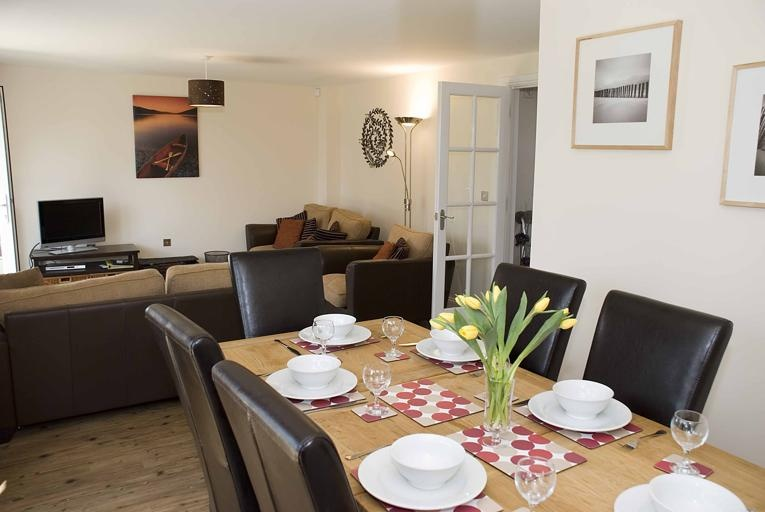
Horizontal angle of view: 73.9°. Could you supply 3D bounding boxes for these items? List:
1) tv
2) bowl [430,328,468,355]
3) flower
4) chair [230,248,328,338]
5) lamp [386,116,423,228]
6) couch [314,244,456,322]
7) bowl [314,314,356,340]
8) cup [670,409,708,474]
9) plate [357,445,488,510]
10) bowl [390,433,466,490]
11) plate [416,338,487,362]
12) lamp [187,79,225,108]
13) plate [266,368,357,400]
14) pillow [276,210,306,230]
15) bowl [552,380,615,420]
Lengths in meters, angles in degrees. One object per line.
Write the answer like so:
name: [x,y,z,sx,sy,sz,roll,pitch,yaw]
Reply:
tv: [-4.110,-0.401,6.656,0.793,0.657,0.226,-4,5,-39]
bowl: [0.315,0.418,2.517,0.152,0.067,0.148,0,7,0]
flower: [0.477,0.255,2.017,0.503,0.410,0.453,-1,2,-26]
chair: [-0.669,0.191,3.270,0.556,0.750,0.547,-3,2,-24]
lamp: [0.302,-1.106,6.798,0.404,1.466,0.774,-3,12,-9]
couch: [0.030,0.309,5.230,0.974,0.821,0.914,-2,5,-35]
bowl: [-0.238,0.357,2.666,0.150,0.057,0.145,1,9,0]
cup: [1.043,0.618,1.732,0.102,0.211,0.262,6,13,31]
plate: [0.124,0.731,1.661,0.416,0.083,0.226,1,10,11]
bowl: [0.144,0.678,1.640,0.254,0.102,0.246,2,2,0]
plate: [0.327,0.438,2.351,0.182,0.025,0.181,7,11,31]
lamp: [-2.131,-1.920,6.132,0.382,0.259,0.369,2,8,2]
plate: [-0.319,0.553,2.132,0.211,0.022,0.210,8,14,29]
pillow: [-1.314,-0.585,7.708,0.362,0.106,0.348,-9,20,-16]
bowl: [0.790,0.573,1.998,0.239,0.089,0.235,-4,2,0]
